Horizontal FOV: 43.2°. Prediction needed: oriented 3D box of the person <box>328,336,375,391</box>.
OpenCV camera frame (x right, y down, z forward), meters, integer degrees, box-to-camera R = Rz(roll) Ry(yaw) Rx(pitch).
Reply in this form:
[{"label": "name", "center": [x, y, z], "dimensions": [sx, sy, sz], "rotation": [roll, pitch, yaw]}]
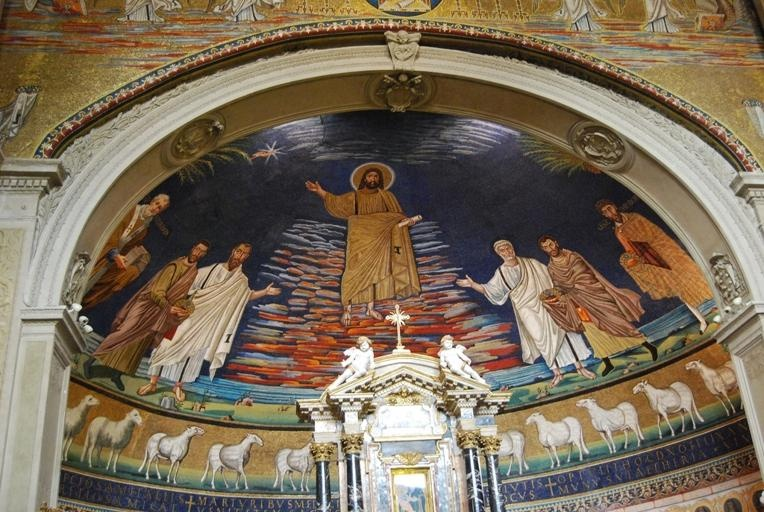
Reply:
[{"label": "person", "center": [-0.521, 1.962, 17.776], "dimensions": [0.710, 1.217, 0.649], "rotation": [-13, -34, 15]}]
